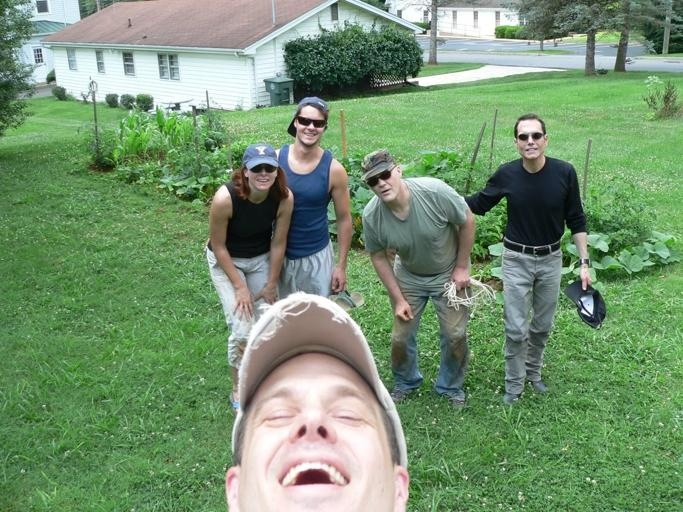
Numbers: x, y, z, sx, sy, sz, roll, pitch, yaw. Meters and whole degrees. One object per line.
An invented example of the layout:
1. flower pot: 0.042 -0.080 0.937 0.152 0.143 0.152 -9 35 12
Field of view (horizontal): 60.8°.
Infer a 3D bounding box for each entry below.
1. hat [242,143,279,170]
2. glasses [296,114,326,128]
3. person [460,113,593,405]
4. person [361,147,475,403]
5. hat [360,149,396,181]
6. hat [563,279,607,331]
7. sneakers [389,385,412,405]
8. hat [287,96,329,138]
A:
1. hat: -0.621 -0.757 4.484 0.270 0.175 0.326 -2 13 -7
2. glasses: -0.238 -1.093 4.776 0.245 0.090 0.127 -3 14 -11
3. person: 1.630 0.219 5.096 0.989 2.161 0.438 5 15 20
4. person: 0.637 0.232 5.125 1.028 2.376 0.873 -11 20 -13
5. hat: 0.286 -0.717 4.505 0.201 0.138 0.266 -27 6 23
6. hat: 2.132 0.419 5.049 0.311 0.404 0.119 -32 0 -10
7. sneakers: 0.564 1.282 5.403 0.120 0.141 0.338 -9 -6 44
8. hat: -0.310 -1.172 5.020 0.362 0.409 0.400 3 10 -8
